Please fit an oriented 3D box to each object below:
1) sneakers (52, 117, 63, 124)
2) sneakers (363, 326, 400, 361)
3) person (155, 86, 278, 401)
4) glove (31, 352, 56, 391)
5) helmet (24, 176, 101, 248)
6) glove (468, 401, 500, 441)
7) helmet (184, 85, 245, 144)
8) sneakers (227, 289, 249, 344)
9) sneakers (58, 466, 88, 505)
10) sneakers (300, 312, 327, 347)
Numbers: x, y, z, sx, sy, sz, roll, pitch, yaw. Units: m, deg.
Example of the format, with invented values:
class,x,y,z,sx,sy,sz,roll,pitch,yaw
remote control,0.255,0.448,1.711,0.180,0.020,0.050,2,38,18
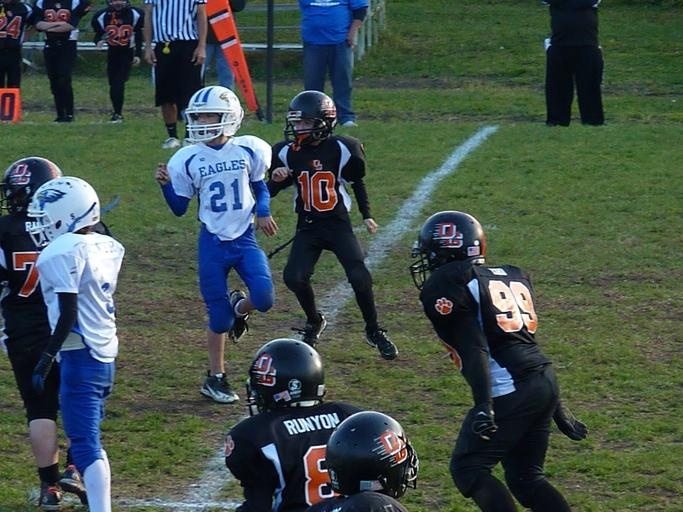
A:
class,x,y,z,sx,sy,sz,roll,pitch,yaw
sneakers,-3.559,-1.721,18.853,0.133,0.040,0.133,-2,2,-6
sneakers,0.346,0.761,12.977,0.418,0.158,0.191,36,-15,16
person,-1.055,-0.145,12.794,0.970,2.596,0.991,1,11,-3
glove,-2.249,0.860,11.316,0.157,0.318,0.214,-1,11,-13
helmet,-2.110,-0.361,11.409,0.781,0.463,0.479,1,7,0
glove,1.020,1.203,10.935,0.238,0.098,0.261,4,16,10
helmet,-1.085,-1.216,12.767,0.503,0.369,0.614,0,2,32
sneakers,-0.929,0.526,12.954,0.196,0.420,0.213,-13,37,-24
sneakers,-2.016,1.793,11.731,0.190,0.178,0.400,-23,-29,0
sneakers,-0.224,0.652,13.117,0.150,0.332,0.186,13,-13,35
